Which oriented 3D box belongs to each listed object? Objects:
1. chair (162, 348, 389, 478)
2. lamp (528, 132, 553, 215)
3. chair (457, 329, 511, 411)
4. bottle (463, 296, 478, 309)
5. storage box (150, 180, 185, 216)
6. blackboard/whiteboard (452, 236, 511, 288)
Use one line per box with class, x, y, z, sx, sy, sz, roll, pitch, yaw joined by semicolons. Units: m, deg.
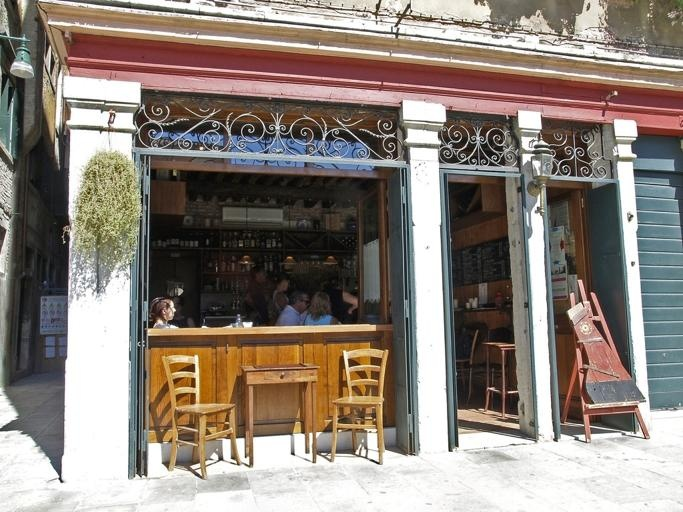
chair;-0.666;1.599;6.613;2.436;1.185;0.805;-1;1;-11
lamp;2.385;-0.922;7.261;0.230;0.871;0.212;-1;1;-10
chair;2.131;1.644;9.023;0.590;1.126;0.906;6;-13;-13
bottle;2.183;0.760;10.083;0.172;0.181;0.051;-5;-18;27
storage box;-2.723;-0.895;9.546;0.490;0.513;0.513;1;-2;-15
blackboard/whiteboard;2.308;0.121;10.075;0.094;0.825;1.658;-1;1;-20
